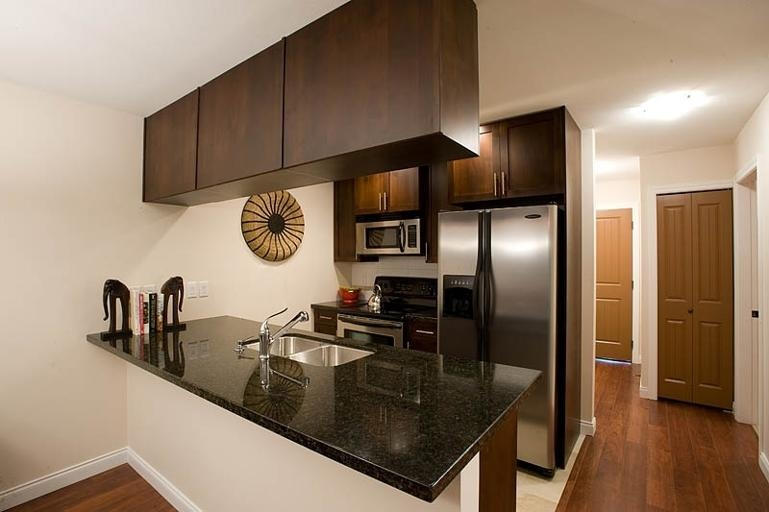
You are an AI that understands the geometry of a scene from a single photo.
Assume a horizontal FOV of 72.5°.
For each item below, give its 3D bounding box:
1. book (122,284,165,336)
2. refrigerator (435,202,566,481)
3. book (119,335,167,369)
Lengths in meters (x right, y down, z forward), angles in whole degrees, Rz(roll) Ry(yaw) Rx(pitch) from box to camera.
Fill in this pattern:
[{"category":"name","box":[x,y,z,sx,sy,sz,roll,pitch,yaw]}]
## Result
[{"category":"book","box":[-1.961,0.441,4.347,0.324,0.496,0.330,-1,0,-43]},{"category":"refrigerator","box":[0.960,0.663,4.521,1.107,2.228,0.408,6,13,22]},{"category":"book","box":[-1.797,0.728,3.941,0.342,0.052,0.782,-6,15,-28]}]
